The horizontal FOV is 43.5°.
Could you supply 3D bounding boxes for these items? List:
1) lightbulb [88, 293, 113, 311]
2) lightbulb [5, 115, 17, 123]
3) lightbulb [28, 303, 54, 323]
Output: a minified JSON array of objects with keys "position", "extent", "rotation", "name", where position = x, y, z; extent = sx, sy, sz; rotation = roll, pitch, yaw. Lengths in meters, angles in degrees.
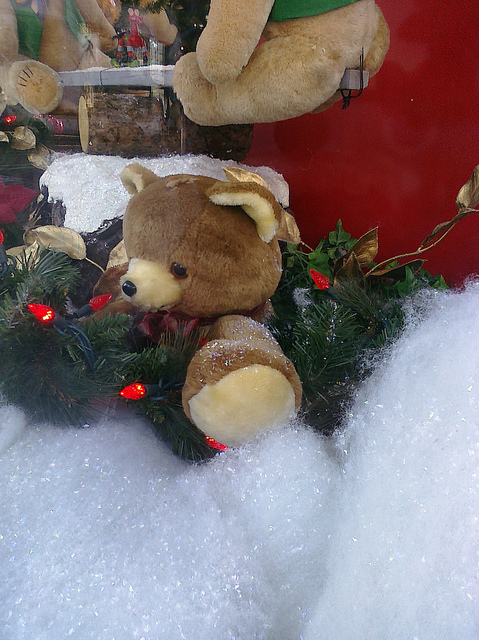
[{"position":[-0.171,-0.022,0.743],"extent":[0.014,0.007,0.034],"rotation":[33,34,14],"name":"lightbulb"},{"position":[-0.338,-0.296,0.888],"extent":[0.014,0.004,0.010],"rotation":[-29,81,-11],"name":"lightbulb"},{"position":[-0.224,-0.008,0.676],"extent":[0.030,0.021,0.015],"rotation":[31,49,15],"name":"lightbulb"}]
